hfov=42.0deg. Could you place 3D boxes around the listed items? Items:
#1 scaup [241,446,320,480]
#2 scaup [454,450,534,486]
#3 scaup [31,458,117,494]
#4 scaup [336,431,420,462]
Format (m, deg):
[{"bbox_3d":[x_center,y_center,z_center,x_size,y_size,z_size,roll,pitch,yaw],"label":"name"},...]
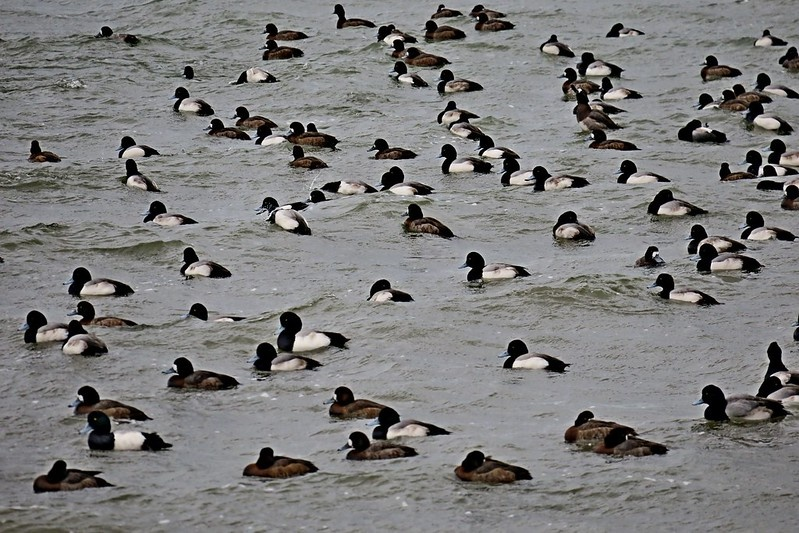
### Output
[{"bbox_3d":[-2.222,3.738,19.533,1.448,0.325,0.596,2,-5,3],"label":"scaup"},{"bbox_3d":[1.720,3.717,19.084,1.548,0.365,0.580,5,14,-5],"label":"scaup"},{"bbox_3d":[-6.105,3.937,19.091,1.972,0.442,0.524,2,-6,-4],"label":"scaup"},{"bbox_3d":[-0.458,3.468,19.738,1.711,0.380,0.492,1,-6,4],"label":"scaup"}]
